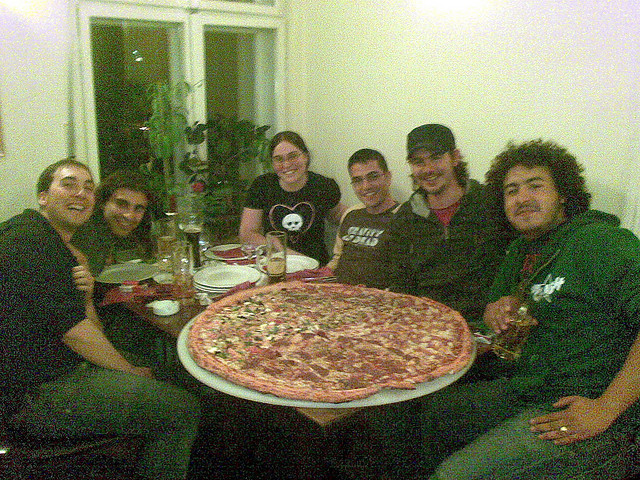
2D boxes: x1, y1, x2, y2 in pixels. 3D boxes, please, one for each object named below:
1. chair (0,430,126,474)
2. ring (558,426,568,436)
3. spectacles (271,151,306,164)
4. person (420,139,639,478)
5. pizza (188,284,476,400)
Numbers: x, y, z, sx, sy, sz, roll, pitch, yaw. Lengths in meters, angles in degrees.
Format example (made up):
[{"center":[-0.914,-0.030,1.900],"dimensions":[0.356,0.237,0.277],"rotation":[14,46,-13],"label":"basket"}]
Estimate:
[{"center":[-0.935,0.732,1.955],"dimensions":[0.457,0.109,0.116],"rotation":[3,20,8],"label":"chair"},{"center":[0.763,0.599,1.772],"dimensions":[0.030,0.006,0.029],"rotation":[-12,28,6],"label":"ring"},{"center":[-0.164,-0.407,2.812],"dimensions":[0.154,0.056,0.038],"rotation":[-1,21,-7],"label":"spectacles"},{"center":[0.714,0.325,1.969],"dimensions":[0.635,1.301,0.742],"rotation":[2,22,2],"label":"person"},{"center":[0.040,0.292,1.815],"dimensions":[0.885,0.116,0.730],"rotation":[6,16,17],"label":"pizza"}]
